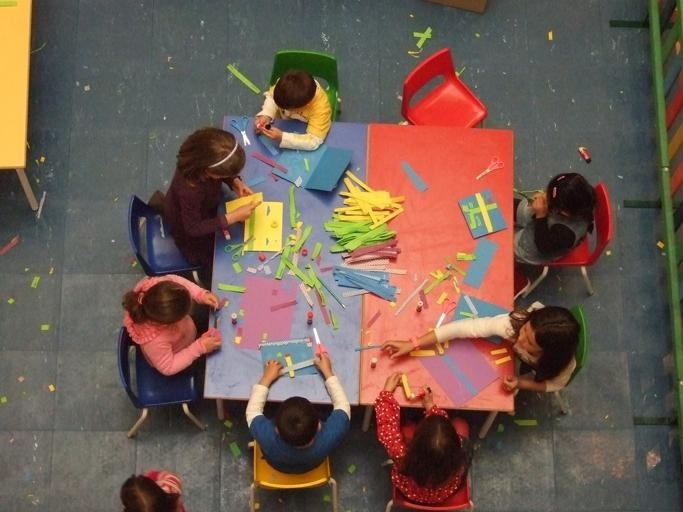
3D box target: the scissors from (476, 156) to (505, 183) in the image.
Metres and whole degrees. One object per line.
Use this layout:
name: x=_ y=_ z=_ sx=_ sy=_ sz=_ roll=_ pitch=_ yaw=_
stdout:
scissors: x=1.061 y=-0.620 z=5.374 sx=0.215 sy=0.017 sz=0.115 roll=-41 pitch=83 yaw=-6

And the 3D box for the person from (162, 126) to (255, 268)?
person: x=-0.912 y=-0.381 z=5.262 sx=0.408 sy=0.858 sz=0.432 roll=6 pitch=74 yaw=-5

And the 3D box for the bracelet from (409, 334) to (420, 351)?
bracelet: x=0.486 y=0.579 z=5.062 sx=0.045 sy=0.076 sz=0.075 roll=-4 pitch=25 yaw=0

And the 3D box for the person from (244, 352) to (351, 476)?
person: x=-0.319 y=1.147 z=5.346 sx=0.658 sy=1.401 sz=0.816 roll=-14 pitch=72 yaw=-12

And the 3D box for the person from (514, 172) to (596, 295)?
person: x=1.593 y=-0.120 z=5.584 sx=0.454 sy=0.836 sz=0.494 roll=3 pitch=82 yaw=6
